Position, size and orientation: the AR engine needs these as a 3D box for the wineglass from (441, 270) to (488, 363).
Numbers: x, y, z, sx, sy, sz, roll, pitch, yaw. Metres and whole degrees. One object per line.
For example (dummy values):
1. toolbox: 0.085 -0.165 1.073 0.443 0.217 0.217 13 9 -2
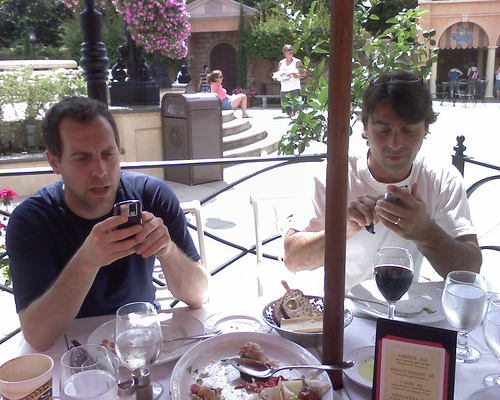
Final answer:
1. wineglass: 0.654 0.363 1.462 0.125 0.242 0.282 5 16 24

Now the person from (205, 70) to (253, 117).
1. person: -0.537 -2.424 10.943 0.844 1.074 2.218 -1 15 2

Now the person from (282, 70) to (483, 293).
1. person: 0.585 -0.069 2.177 0.869 1.000 0.782 -4 15 -7

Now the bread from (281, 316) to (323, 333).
1. bread: 0.163 0.407 1.522 0.093 0.018 0.060 -1 29 -13

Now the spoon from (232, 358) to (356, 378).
1. spoon: 0.120 0.485 1.356 0.308 0.048 0.073 2 -7 11

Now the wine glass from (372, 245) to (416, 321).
1. wine glass: 0.462 0.325 1.556 0.114 0.330 0.129 1 2 10

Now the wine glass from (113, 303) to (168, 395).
1. wine glass: -0.313 0.432 1.346 0.132 0.235 0.236 -6 15 -16

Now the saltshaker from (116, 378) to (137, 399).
1. saltshaker: -0.325 0.497 1.239 0.056 0.033 0.060 0 10 -3

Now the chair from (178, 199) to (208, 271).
1. chair: -0.320 0.171 2.491 0.127 0.248 0.123 2 -5 9

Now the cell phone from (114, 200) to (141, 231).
1. cell phone: -0.404 0.055 1.551 0.077 0.151 0.020 -10 45 -24

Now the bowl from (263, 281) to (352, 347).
1. bowl: 0.176 0.397 1.589 0.273 0.149 0.342 -6 11 -11

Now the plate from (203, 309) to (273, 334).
1. plate: -0.052 0.429 1.614 0.230 0.027 0.250 0 8 9

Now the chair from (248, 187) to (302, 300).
1. chair: 0.163 0.313 3.468 0.424 0.815 0.561 -8 29 -8

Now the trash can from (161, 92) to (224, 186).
1. trash can: -0.910 -0.939 6.935 0.868 1.180 0.975 -5 14 -18

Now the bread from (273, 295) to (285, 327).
1. bread: 0.097 0.378 1.603 0.021 0.064 0.044 -11 -18 30

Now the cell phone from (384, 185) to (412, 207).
1. cell phone: 0.579 -0.016 1.830 0.145 0.072 0.070 -7 16 -18
